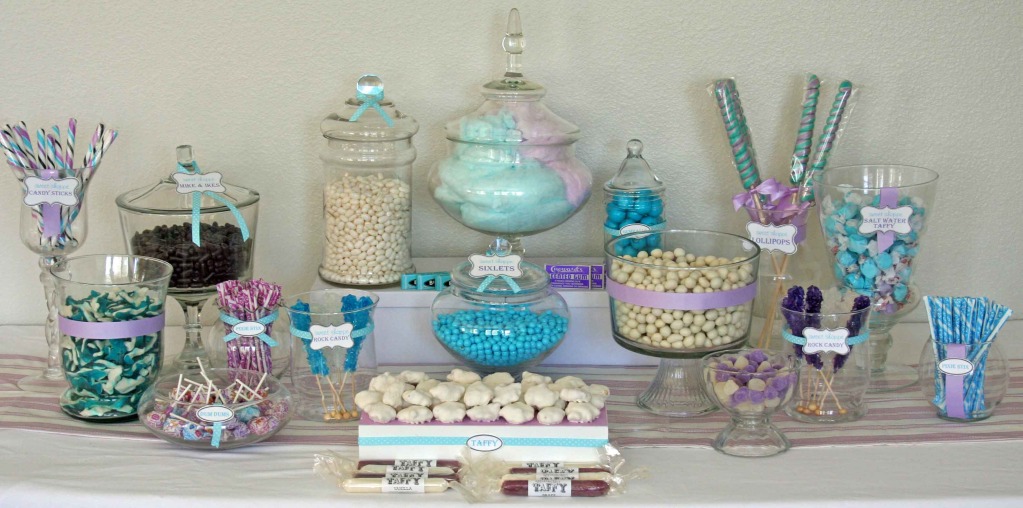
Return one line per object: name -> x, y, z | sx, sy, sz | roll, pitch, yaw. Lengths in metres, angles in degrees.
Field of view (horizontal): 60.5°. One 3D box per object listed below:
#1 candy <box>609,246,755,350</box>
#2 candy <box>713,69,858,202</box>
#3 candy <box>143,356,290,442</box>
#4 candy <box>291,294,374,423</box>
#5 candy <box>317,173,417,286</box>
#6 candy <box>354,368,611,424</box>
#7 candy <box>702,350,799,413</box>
candy -> 0.562, 0.140, 2.847 | 0.468, 0.176, 0.377 | 0, 1, -7
candy -> 0.984, -0.418, 3.169 | 0.515, 0.456, 0.310 | 0, 12, 10
candy -> -0.918, 0.440, 2.752 | 0.401, 0.146, 0.341 | 3, 3, 18
candy -> -0.578, 0.346, 2.887 | 0.296, 0.404, 0.140 | -5, 13, -12
candy -> -0.505, -0.087, 3.111 | 0.520, 0.355, 0.421 | 1, 2, -6
candy -> -0.094, 0.456, 2.786 | 0.790, 0.135, 0.193 | -2, 10, 0
candy -> 0.743, 0.395, 2.715 | 0.259, 0.093, 0.222 | 0, -1, -6
